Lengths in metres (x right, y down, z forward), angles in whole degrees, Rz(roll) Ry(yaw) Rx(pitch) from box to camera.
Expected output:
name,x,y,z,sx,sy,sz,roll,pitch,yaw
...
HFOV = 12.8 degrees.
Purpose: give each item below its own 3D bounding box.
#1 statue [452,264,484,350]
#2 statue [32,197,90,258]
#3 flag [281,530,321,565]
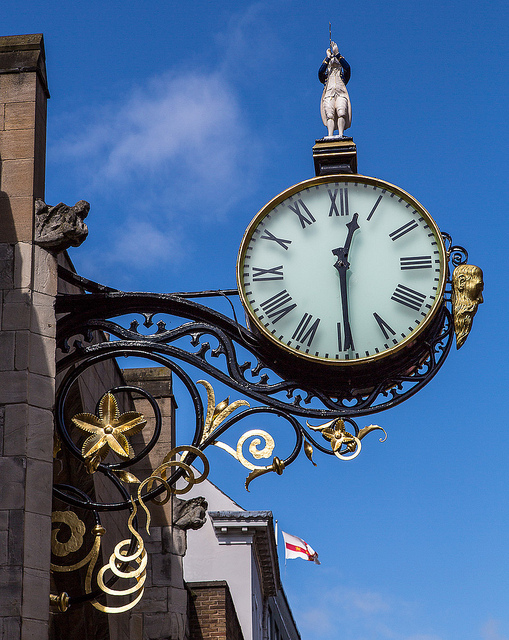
name,x,y,z,sx,sy,sz,roll,pitch,yaw
statue,2.047,-0.150,21.467,0.279,0.846,0.456,1,-17,14
statue,-1.797,-0.859,21.087,0.505,0.456,0.290,3,-44,-7
flag,0.947,4.610,46.789,0.595,0.757,0.505,-13,-45,10
